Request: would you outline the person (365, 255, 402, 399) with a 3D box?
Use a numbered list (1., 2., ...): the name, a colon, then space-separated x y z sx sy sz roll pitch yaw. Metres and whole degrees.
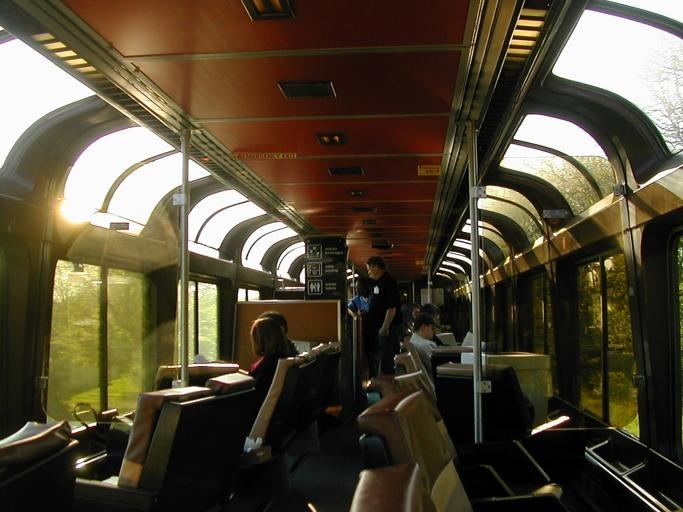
1. person: 0.688 1.121 8.276 0.554 2.240 0.742 -2 5 -14
